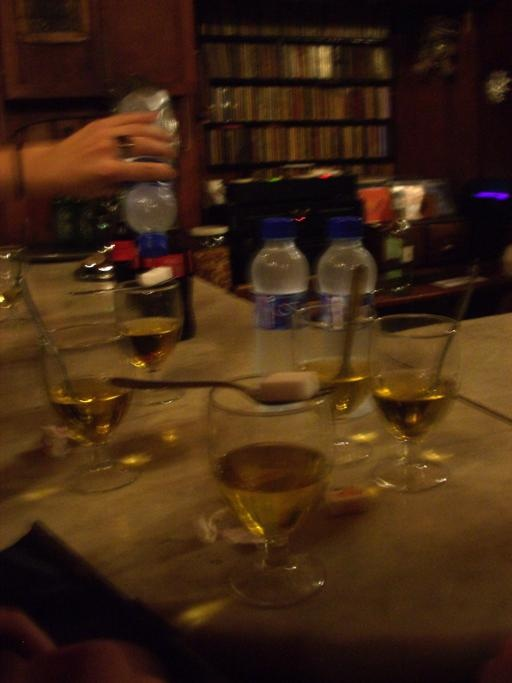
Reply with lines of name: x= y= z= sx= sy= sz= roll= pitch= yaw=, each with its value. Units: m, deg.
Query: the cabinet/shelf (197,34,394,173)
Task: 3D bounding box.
cabinet/shelf: x=0.345 y=-1.734 z=4.435 sx=1.343 sy=1.068 sz=0.413 roll=0 pitch=-6 yaw=0
